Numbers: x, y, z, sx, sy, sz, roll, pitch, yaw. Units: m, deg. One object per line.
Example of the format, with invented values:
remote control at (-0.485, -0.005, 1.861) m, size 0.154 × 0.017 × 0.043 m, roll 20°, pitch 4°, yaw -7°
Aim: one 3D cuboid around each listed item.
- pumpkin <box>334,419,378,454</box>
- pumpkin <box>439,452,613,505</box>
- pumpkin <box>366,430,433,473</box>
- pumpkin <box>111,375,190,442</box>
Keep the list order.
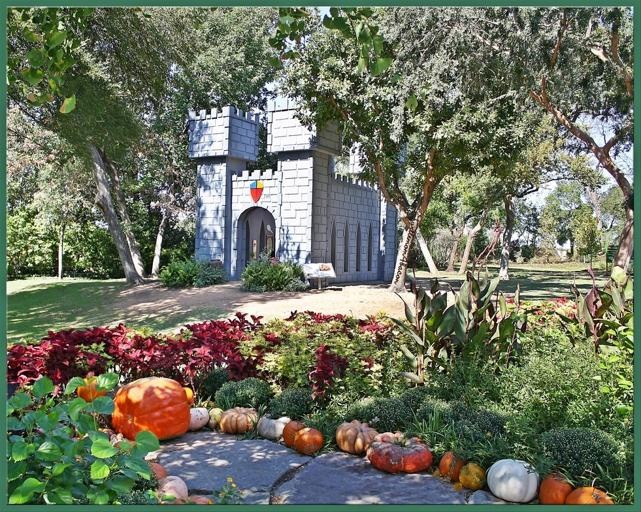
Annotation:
pumpkin at (0.310, 1.675, 4.427) m, size 0.249 × 0.179 × 0.294 m, roll 3°, pitch 6°, yaw 12°
pumpkin at (1.516, 1.746, 3.714) m, size 1.251 × 0.276 × 0.325 m, roll 0°, pitch 3°, yaw 28°
pumpkin at (0.689, 1.714, 4.165) m, size 0.534 × 0.249 × 0.343 m, roll -2°, pitch 3°, yaw -18°
pumpkin at (-1.669, 1.539, 4.714) m, size 0.732 × 0.558 × 0.440 m, roll -1°, pitch 3°, yaw -10°
